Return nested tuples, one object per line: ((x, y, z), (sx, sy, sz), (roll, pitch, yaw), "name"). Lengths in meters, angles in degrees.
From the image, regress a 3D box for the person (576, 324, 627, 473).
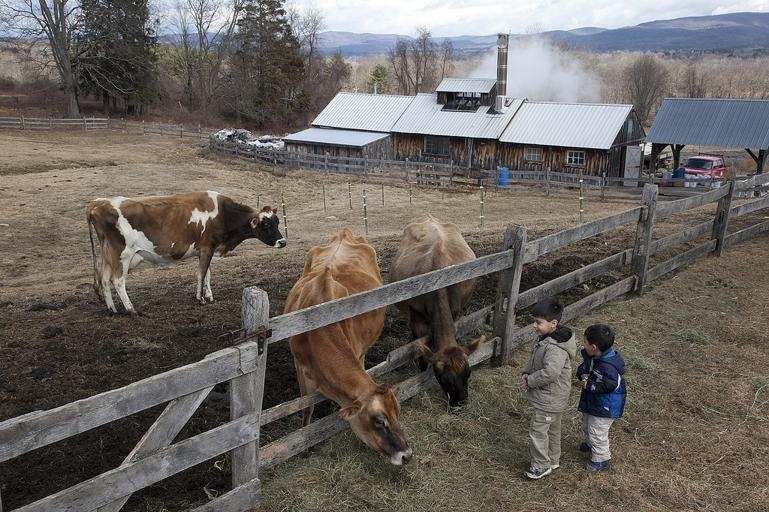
((2.403, 1.573, 6.413), (0.512, 1.603, 0.443), (5, 14, 20), "person")

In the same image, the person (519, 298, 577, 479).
((1.806, 1.484, 6.436), (0.542, 1.880, 0.768), (5, 14, 19), "person")

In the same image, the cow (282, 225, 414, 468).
((-0.458, 0.847, 7.141), (1.023, 1.954, 3.296), (-5, 31, -2), "cow")

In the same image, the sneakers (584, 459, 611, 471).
((2.369, 2.367, 6.427), (0.271, 0.134, 0.106), (-5, 27, 6), "sneakers")

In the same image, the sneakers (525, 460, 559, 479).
((1.761, 2.424, 6.452), (0.387, 0.182, 0.137), (-11, 21, -12), "sneakers")

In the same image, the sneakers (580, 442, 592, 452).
((2.332, 2.248, 6.663), (0.109, 0.092, 0.045), (6, 11, -10), "sneakers")
